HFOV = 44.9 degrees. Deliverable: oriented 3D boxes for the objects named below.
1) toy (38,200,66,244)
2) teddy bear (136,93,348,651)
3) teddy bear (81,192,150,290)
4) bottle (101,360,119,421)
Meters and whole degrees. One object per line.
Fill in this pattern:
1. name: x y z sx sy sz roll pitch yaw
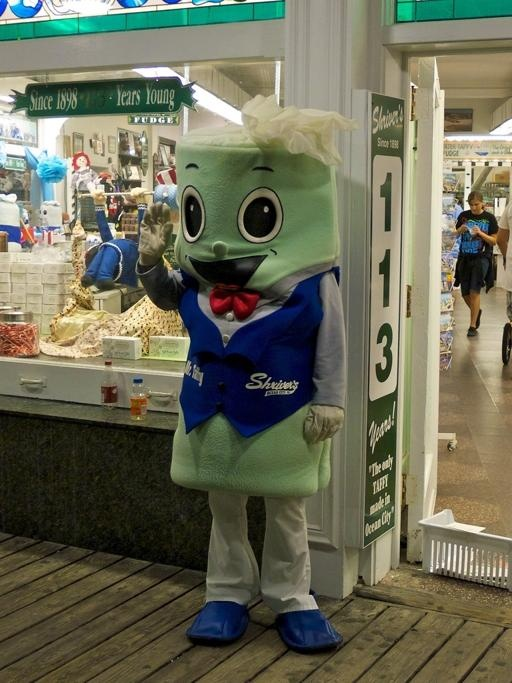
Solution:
1. toy: -0.919 -0.541 2.796 0.157 0.182 0.055 0 0 33
2. teddy bear: -0.008 0.109 1.713 0.561 1.507 0.437 0 0 42
3. teddy bear: -0.613 -0.448 2.722 0.350 0.390 0.141 3 22 5
4. bottle: -0.606 0.183 2.545 0.080 0.206 0.096 0 0 1
